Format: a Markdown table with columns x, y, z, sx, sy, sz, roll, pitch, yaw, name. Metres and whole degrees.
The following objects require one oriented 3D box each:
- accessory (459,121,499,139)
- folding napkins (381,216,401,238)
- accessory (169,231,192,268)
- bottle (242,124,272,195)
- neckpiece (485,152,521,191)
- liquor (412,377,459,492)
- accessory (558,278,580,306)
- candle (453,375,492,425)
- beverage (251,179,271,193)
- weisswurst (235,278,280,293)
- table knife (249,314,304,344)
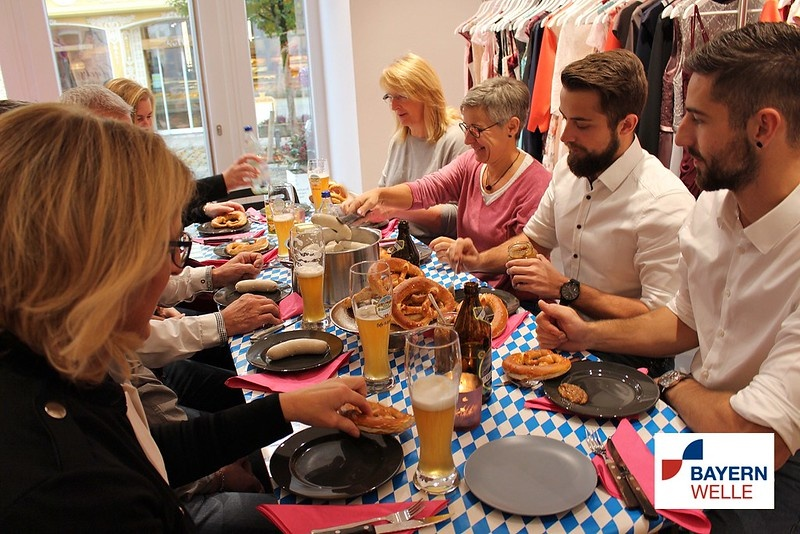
| x | y | z | sx | sy | sz | roll | pitch | yaw | name |
| --- | --- | --- | --- | --- | --- | --- | --- | --- | --- |
| 0.411 | -0.723 | 2.717 | 0.146 | 0.044 | 0.139 | -15 | 24 | -27 | accessory |
| -0.056 | -0.225 | 2.830 | 0.094 | 0.043 | 0.122 | -1 | 30 | 8 | folding napkins |
| -0.547 | -0.036 | 1.279 | 0.099 | 0.030 | 0.095 | 6 | 16 | -8 | accessory |
| -0.892 | -0.648 | 3.182 | 0.124 | 0.410 | 0.123 | -7 | 26 | 3 | bottle |
| 0.567 | -0.495 | 2.824 | 0.045 | 0.208 | 0.145 | 28 | 14 | -35 | neckpiece |
| 0.087 | 0.408 | 1.258 | 0.114 | 0.228 | 0.113 | -3 | 0 | 0 | liquor |
| 0.684 | 0.104 | 2.129 | 0.071 | 0.114 | 0.100 | 25 | -2 | 7 | accessory |
| 0.182 | 0.386 | 1.418 | 0.092 | 0.104 | 0.097 | 0 | -2 | 6 | candle |
| -0.829 | -0.484 | 3.086 | 0.121 | 0.095 | 0.137 | -1 | 16 | -2 | beverage |
| -0.602 | 0.082 | 2.159 | 0.216 | 0.067 | 0.063 | -1 | 6 | 9 | weisswurst |
| -0.443 | 0.219 | 1.943 | 0.049 | 0.024 | 0.282 | 15 | 25 | 35 | table knife |
